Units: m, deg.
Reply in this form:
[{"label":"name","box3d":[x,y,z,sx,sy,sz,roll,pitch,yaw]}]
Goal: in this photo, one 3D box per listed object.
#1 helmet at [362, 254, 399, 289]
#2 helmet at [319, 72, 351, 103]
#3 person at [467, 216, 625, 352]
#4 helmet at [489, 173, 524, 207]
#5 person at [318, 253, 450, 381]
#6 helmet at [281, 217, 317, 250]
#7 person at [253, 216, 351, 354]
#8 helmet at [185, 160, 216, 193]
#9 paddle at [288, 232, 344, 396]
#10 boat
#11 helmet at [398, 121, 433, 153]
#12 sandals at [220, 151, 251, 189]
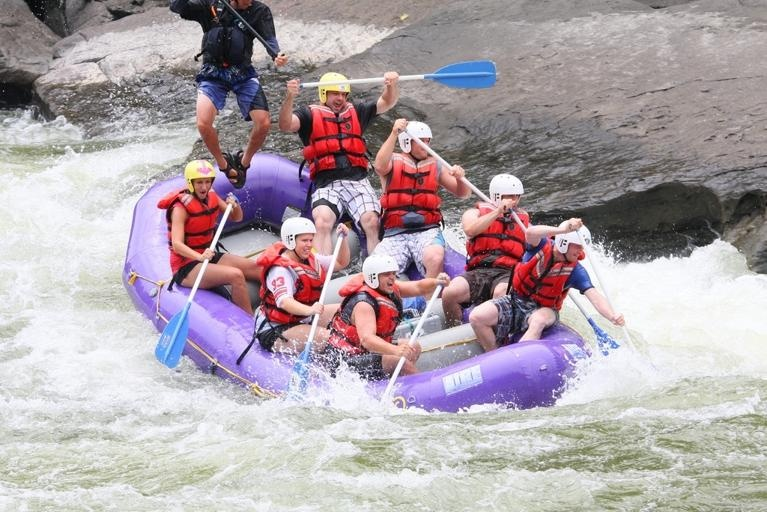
[{"label":"helmet","box3d":[-0.070,0.124,8.441,0.348,0.229,0.224,12,18,-4]},{"label":"helmet","box3d":[-0.557,-1.801,10.033,0.304,0.305,0.387,-4,8,-41]},{"label":"person","box3d":[1.428,0.254,8.578,1.317,1.279,0.556,-2,21,3]},{"label":"helmet","box3d":[1.198,-0.666,9.181,0.354,0.230,0.266,9,19,42]},{"label":"person","box3d":[-0.107,0.529,8.501,0.965,1.108,0.754,-2,20,5]},{"label":"helmet","box3d":[-0.873,-0.201,8.789,0.333,0.221,0.292,2,7,31]},{"label":"person","box3d":[-0.759,0.322,8.865,0.972,1.222,0.941,8,26,13]},{"label":"helmet","box3d":[-1.850,-0.836,9.463,0.282,0.254,0.346,-9,26,-21]},{"label":"paddle","box3d":[-0.571,0.398,8.805,0.259,1.960,0.091,18,-25,-5]},{"label":"boat","box3d":[-0.816,0.698,9.144,2.580,0.832,4.175,-24,40,-39]},{"label":"helmet","box3d":[0.300,-1.223,9.720,0.285,0.256,0.381,-9,-4,-42]},{"label":"sandals","box3d":[-1.614,-0.934,10.223,0.267,0.387,0.143,-15,12,-9]}]
